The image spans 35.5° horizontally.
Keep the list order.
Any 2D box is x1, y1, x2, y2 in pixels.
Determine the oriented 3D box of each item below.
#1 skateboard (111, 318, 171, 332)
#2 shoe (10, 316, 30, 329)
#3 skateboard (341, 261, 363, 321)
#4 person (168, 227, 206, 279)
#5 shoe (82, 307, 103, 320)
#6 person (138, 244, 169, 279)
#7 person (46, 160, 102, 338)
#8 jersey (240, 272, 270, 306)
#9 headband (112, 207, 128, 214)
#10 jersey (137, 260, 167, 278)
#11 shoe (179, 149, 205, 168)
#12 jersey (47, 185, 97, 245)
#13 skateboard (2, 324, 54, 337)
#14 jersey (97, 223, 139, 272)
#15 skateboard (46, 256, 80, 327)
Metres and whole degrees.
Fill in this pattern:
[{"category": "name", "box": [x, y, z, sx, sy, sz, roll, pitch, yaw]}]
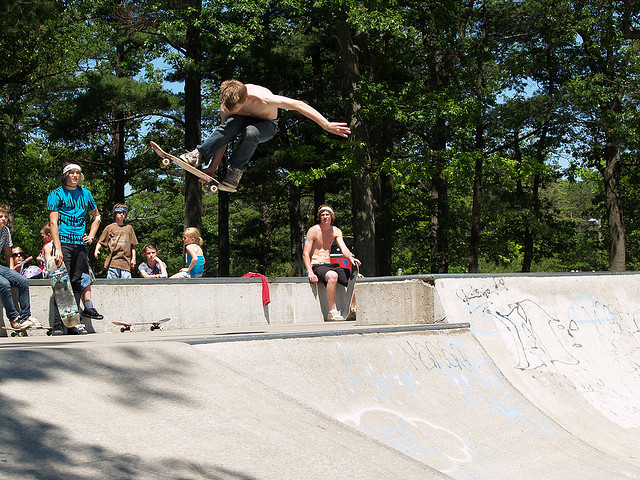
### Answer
[{"category": "skateboard", "box": [-4.320, 2.105, 24.942, 1.641, 0.272, 0.403, 4, -9, -30]}, {"category": "shoe", "box": [-6.933, 1.905, 23.287, 0.435, 0.289, 0.091, -1, 4, 12]}, {"category": "skateboard", "box": [0.808, 1.330, 25.792, 0.240, 1.618, 0.374, -2, 17, -24]}, {"category": "person", "box": [-3.340, 0.333, 26.306, 0.620, 1.313, 1.601, -2, 3, -7]}, {"category": "shoe", "box": [-5.438, 1.755, 24.153, 0.588, 0.256, 0.219, 14, 0, 2]}, {"category": "person", "box": [-4.301, 0.534, 26.075, 0.664, 0.896, 0.542, -4, 5, -42]}, {"category": "person", "box": [-5.723, 0.208, 23.866, 1.374, 4.130, 1.093, 3, 8, 13]}, {"category": "jersey", "box": [-1.697, 1.313, 26.340, 0.804, 0.782, 0.192, 2, 11, 20]}, {"category": "headband", "box": [-5.092, -0.769, 25.654, 0.315, 0.137, 0.340, -2, 3, -11]}, {"category": "jersey", "box": [-4.459, 0.729, 26.261, 0.385, 0.379, 0.358, 3, -4, -26]}, {"category": "shoe", "box": [-2.939, -1.881, 23.139, 0.566, 0.416, 0.247, -2, 3, -6]}, {"category": "jersey", "box": [-5.848, -0.583, 23.728, 1.073, 1.404, 0.225, -3, 4, -29]}, {"category": "skateboard", "box": [-6.735, 2.072, 23.472, 1.574, 0.258, 0.416, 4, -1, -25]}, {"category": "jersey", "box": [-5.105, 0.129, 25.652, 0.942, 1.261, 0.389, 0, 20, -14]}, {"category": "skateboard", "box": [-5.979, 1.223, 23.457, 0.496, 1.929, 0.287, -15, 6, -21]}]
